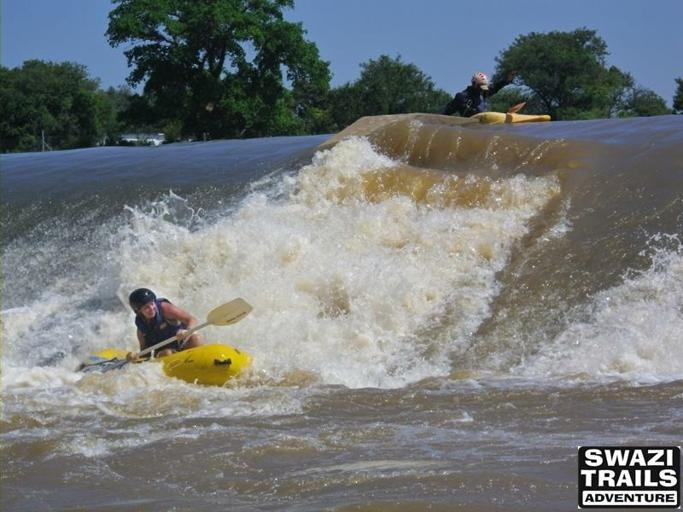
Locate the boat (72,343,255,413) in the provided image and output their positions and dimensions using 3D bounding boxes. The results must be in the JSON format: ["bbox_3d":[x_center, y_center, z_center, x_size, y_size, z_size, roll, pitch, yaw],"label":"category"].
[{"bbox_3d":[-2.178,1.514,14.783,2.589,0.591,0.750,3,25,13],"label":"boat"}]

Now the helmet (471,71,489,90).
[{"bbox_3d":[2.479,-3.096,20.115,0.257,0.280,0.192,-4,2,-3],"label":"helmet"}]

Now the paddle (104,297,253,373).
[{"bbox_3d":[-2.165,1.126,15.254,2.101,0.333,0.119,-24,1,6],"label":"paddle"}]

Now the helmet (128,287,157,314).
[{"bbox_3d":[-2.637,0.577,15.173,0.346,0.314,0.285,-18,12,33],"label":"helmet"}]
